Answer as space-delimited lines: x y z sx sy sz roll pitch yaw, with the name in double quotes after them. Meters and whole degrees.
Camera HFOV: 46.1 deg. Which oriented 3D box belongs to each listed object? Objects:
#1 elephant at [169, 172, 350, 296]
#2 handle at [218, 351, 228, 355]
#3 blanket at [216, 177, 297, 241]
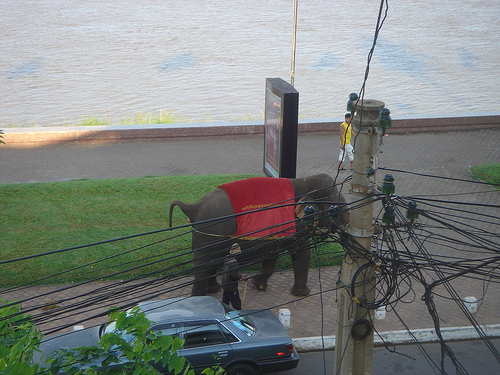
0.397 1.032 12.941 4.847 2.385 1.871 0 5 -29 "elephant"
-0.478 2.958 10.457 0.167 0.068 0.027 -2 23 -11 "handle"
0.057 0.376 12.557 2.253 1.061 1.215 -7 21 -24 "blanket"
